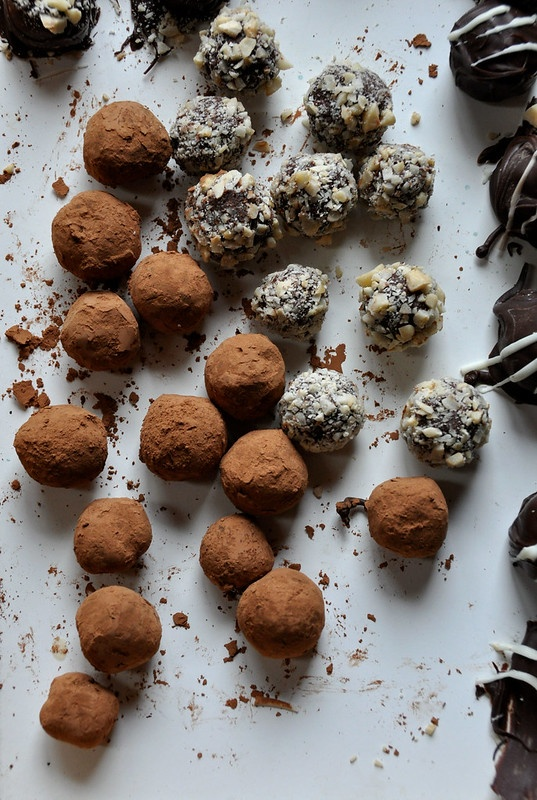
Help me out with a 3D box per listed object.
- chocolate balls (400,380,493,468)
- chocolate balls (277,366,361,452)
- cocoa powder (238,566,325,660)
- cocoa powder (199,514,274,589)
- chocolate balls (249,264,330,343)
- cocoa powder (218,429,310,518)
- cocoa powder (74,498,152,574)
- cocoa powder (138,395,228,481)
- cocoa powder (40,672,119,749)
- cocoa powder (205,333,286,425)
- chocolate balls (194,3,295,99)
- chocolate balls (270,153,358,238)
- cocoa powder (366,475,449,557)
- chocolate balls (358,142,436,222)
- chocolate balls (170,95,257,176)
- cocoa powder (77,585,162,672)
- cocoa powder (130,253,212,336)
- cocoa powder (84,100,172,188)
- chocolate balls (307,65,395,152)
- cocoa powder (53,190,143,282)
[{"bbox_3d":[0.377,0.048,1.643,0.180,0.146,0.167,0,60,0],"label":"chocolate balls"},{"bbox_3d":[0.089,-0.006,1.644,0.176,0.063,0.165,-19,32,12],"label":"chocolate balls"},{"bbox_3d":[0.030,0.418,1.594,0.166,0.095,0.179,15,83,-7],"label":"cocoa powder"},{"bbox_3d":[-0.063,0.313,1.587,0.135,0.081,0.150,12,79,-9],"label":"cocoa powder"},{"bbox_3d":[0.039,-0.221,1.662,0.155,0.069,0.178,-13,59,-18],"label":"chocolate balls"},{"bbox_3d":[-0.010,0.151,1.568,0.160,0.094,0.176,19,89,4],"label":"cocoa powder"},{"bbox_3d":[-0.327,0.269,1.604,0.153,0.076,0.158,7,84,-1],"label":"cocoa powder"},{"bbox_3d":[-0.182,0.080,1.632,0.182,0.160,0.163,-1,60,-1],"label":"cocoa powder"},{"bbox_3d":[-0.403,0.655,1.638,0.145,0.108,0.134,18,62,10],"label":"cocoa powder"},{"bbox_3d":[-0.048,-0.049,1.656,0.158,0.167,0.160,-34,65,-17],"label":"cocoa powder"},{"bbox_3d":[-0.055,-0.732,1.687,0.171,0.080,0.197,-5,101,1],"label":"chocolate balls"},{"bbox_3d":[0.098,-0.445,1.660,0.153,0.146,0.157,0,60,0],"label":"chocolate balls"},{"bbox_3d":[0.291,0.239,1.612,0.150,0.130,0.164,-12,61,-6],"label":"cocoa powder"},{"bbox_3d":[0.268,-0.464,1.636,0.152,0.067,0.174,1,96,5],"label":"chocolate balls"},{"bbox_3d":[-0.133,-0.590,1.669,0.169,0.067,0.193,9,68,9],"label":"chocolate balls"},{"bbox_3d":[-0.316,0.469,1.605,0.161,0.134,0.158,-23,63,-13],"label":"cocoa powder"},{"bbox_3d":[-0.223,-0.264,1.680,0.149,0.161,0.087,-26,80,12],"label":"cocoa powder"},{"bbox_3d":[-0.304,-0.548,1.664,0.189,0.137,0.142,-16,61,-9],"label":"cocoa powder"},{"bbox_3d":[0.201,-0.670,1.659,0.167,0.066,0.151,25,53,-18],"label":"chocolate balls"},{"bbox_3d":[-0.359,-0.345,1.622,0.181,0.102,0.190,-7,89,-12],"label":"cocoa powder"}]
